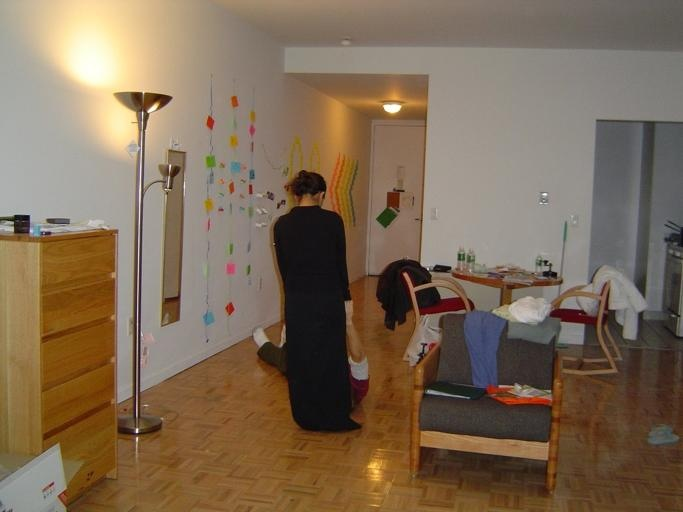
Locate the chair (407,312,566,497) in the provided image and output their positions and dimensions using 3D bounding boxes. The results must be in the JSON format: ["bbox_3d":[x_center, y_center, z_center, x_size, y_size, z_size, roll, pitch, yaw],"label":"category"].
[{"bbox_3d":[1.025,0.931,3.775,0.802,0.947,1.165,1,0,16],"label":"chair"}]

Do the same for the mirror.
[{"bbox_3d":[-1.591,-0.012,5.039,0.024,1.308,0.246,6,5,25],"label":"mirror"}]

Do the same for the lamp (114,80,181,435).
[{"bbox_3d":[-1.485,0.022,4.126,0.484,2.534,0.667,0,8,-11],"label":"lamp"}]

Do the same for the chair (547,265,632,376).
[{"bbox_3d":[2.754,0.678,5.978,0.704,1.026,1.281,6,9,29],"label":"chair"}]

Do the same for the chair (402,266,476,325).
[{"bbox_3d":[1.124,0.444,5.987,0.670,0.848,0.608,-8,3,28],"label":"chair"}]

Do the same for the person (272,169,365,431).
[{"bbox_3d":[-0.198,0.366,4.241,0.553,2.045,0.476,-1,2,12],"label":"person"}]
